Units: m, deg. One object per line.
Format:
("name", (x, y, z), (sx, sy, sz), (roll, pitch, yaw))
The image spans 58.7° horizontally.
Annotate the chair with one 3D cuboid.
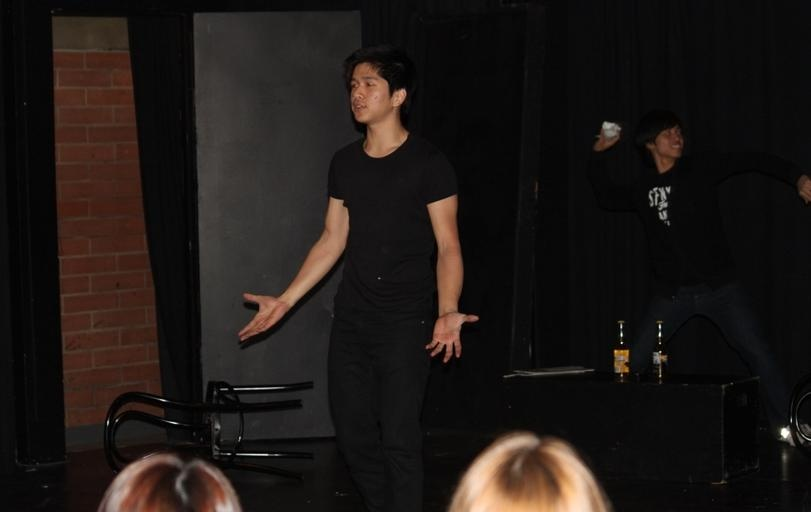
("chair", (-1.332, 1.215, 4.947), (1.449, 0.565, 0.644), (6, -17, -11))
